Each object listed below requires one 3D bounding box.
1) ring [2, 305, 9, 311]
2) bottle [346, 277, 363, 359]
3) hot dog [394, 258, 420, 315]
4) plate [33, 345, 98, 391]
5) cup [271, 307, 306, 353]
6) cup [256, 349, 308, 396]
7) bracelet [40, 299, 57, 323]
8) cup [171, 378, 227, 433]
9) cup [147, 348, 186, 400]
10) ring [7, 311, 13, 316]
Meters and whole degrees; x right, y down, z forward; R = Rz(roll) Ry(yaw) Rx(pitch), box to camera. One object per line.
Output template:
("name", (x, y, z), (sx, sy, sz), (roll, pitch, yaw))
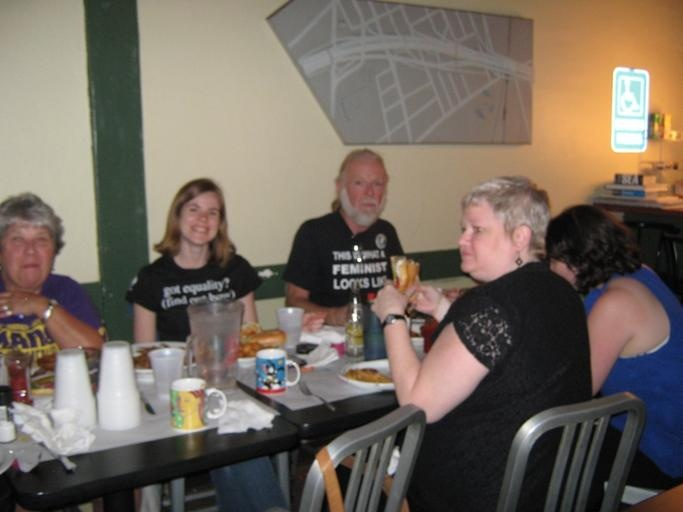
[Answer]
("ring", (-1.262, 0.196, 2.080), (0.021, 0.020, 0.006), (7, -6, -27))
("bottle", (0.048, 0.249, 2.177), (0.070, 0.271, 0.207), (-2, 5, 0))
("hot dog", (0.246, 0.158, 2.214), (0.102, 0.055, 0.173), (37, -14, 13))
("plate", (-0.889, 0.367, 1.794), (0.188, 0.059, 0.190), (-8, 51, -8))
("cup", (-0.205, 0.296, 2.260), (0.159, 0.209, 0.141), (2, 4, 3))
("cup", (-0.202, 0.397, 1.891), (0.168, 0.132, 0.110), (2, 1, -1))
("bracelet", (-1.124, 0.217, 2.152), (0.018, 0.067, 0.066), (17, -30, -16))
("cup", (-0.442, 0.443, 1.648), (0.180, 0.128, 0.115), (5, -4, -32))
("cup", (-0.570, 0.357, 1.813), (0.144, 0.172, 0.149), (-2, 9, 0))
("ring", (-1.259, 0.217, 2.101), (0.020, 0.021, 0.005), (4, 31, -18))
